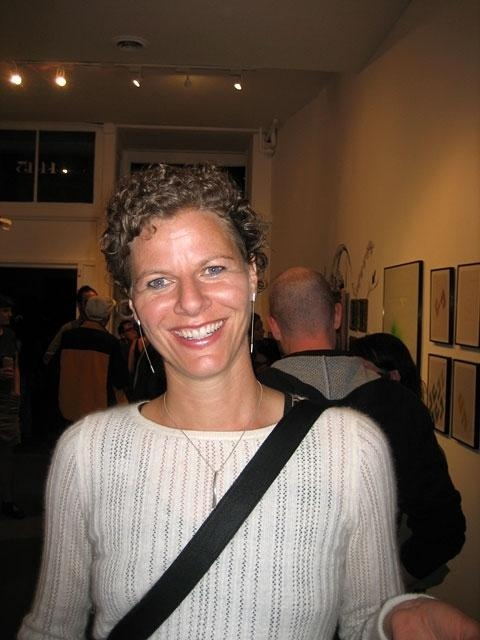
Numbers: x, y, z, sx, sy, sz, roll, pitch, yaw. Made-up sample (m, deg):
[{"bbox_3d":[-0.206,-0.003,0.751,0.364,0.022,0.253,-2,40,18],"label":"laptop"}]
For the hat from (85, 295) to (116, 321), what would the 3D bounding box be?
[{"bbox_3d":[-1.155,-0.146,4.318,0.201,0.157,0.302,1,46,5],"label":"hat"}]
